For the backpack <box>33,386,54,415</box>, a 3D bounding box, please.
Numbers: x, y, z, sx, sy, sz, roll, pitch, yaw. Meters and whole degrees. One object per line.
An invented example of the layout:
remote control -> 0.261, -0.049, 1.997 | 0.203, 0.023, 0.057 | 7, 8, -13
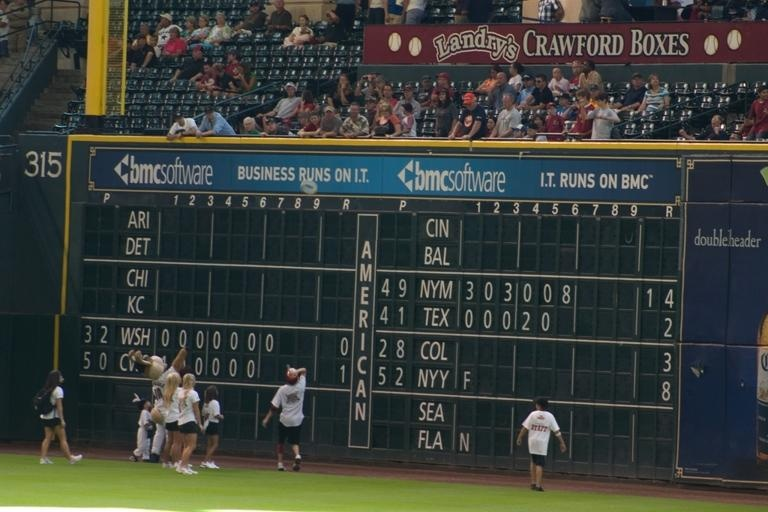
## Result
backpack -> -8.131, 3.377, 51.262 | 0.586, 0.571, 0.406 | 6, -4, -45

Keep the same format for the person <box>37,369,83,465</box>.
person -> -7.650, 3.752, 51.386 | 1.062, 2.182, 0.751 | 0, -8, 6

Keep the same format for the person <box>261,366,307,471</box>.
person -> -2.370, 3.775, 51.761 | 1.007, 2.348, 1.306 | 1, 10, -3
